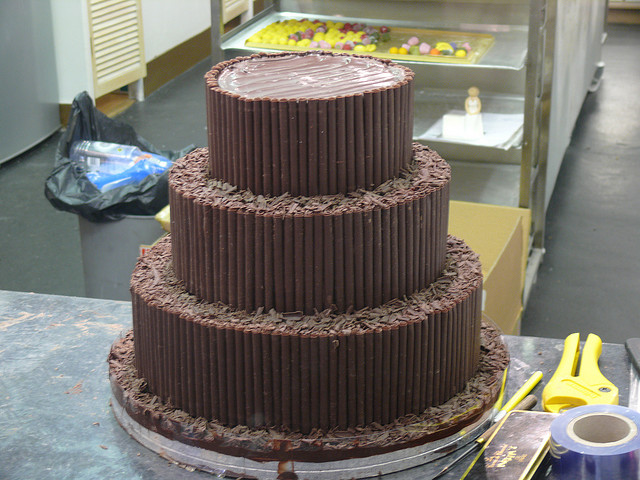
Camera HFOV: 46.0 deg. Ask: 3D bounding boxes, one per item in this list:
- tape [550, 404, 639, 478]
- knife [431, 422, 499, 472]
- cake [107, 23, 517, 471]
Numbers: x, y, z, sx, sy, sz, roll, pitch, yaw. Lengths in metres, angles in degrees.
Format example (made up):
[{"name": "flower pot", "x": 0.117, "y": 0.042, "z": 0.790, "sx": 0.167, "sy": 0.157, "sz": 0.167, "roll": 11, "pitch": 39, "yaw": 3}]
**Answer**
[{"name": "tape", "x": 0.606, "y": 0.446, "z": 1.709, "sx": 0.199, "sy": 0.100, "sz": 0.196, "roll": 12, "pitch": 26, "yaw": 40}, {"name": "knife", "x": 0.370, "y": 0.533, "z": 1.929, "sx": 0.313, "sy": 0.036, "sz": 0.041, "roll": -21, "pitch": 49, "yaw": -38}, {"name": "cake", "x": -0.032, "y": 0.052, "z": 2.011, "sx": 1.155, "sy": 0.960, "sz": 0.698, "roll": 4, "pitch": 24, "yaw": 11}]
